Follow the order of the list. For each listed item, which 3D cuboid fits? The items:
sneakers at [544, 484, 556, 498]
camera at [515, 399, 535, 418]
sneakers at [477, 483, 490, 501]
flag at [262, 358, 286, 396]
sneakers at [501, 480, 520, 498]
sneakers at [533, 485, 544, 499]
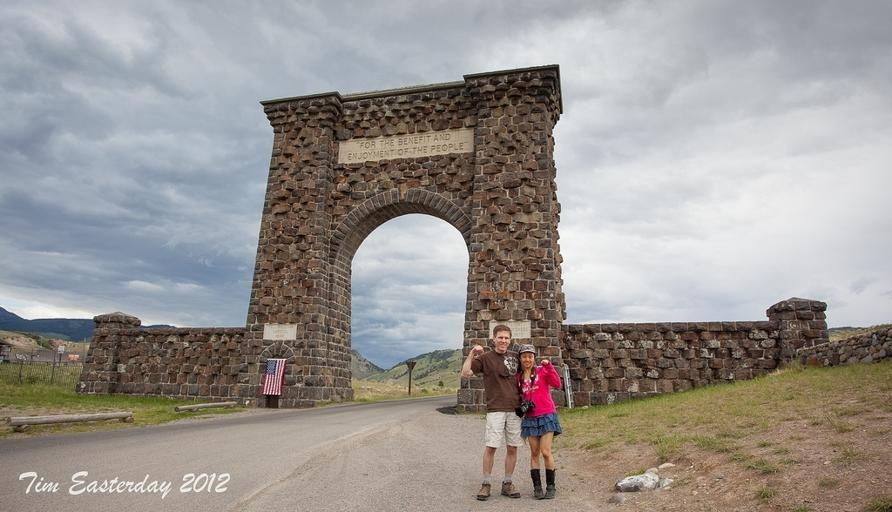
[{"bbox_3d":[2.266,5.129,10.091,0.204,0.247,0.387,-6,-19,17],"label":"sneakers"},{"bbox_3d":[1.731,3.333,10.082,0.433,0.196,0.366,-25,-46,-3],"label":"camera"},{"bbox_3d":[0.794,5.004,9.762,0.187,0.264,0.455,-2,-28,8],"label":"sneakers"},{"bbox_3d":[-9.502,6.712,25.718,1.254,2.024,0.473,-9,-22,25],"label":"flag"},{"bbox_3d":[1.373,5.082,10.107,0.231,0.241,0.473,4,-8,-44],"label":"sneakers"},{"bbox_3d":[1.991,5.101,9.979,0.208,0.245,0.198,-3,-20,10],"label":"sneakers"}]
